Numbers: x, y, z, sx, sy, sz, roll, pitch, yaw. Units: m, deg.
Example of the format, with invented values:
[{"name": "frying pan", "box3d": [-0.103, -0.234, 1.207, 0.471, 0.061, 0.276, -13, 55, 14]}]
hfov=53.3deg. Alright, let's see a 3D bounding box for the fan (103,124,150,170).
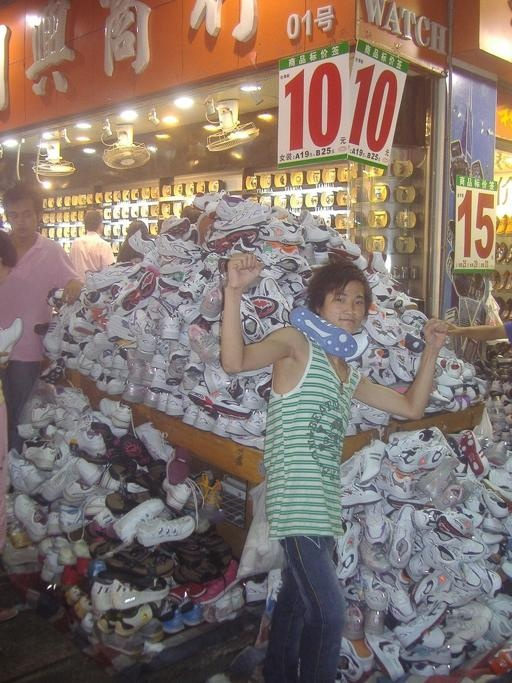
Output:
[{"name": "fan", "box3d": [-1.221, -1.853, 4.750, 0.350, 0.414, 0.637, 1, 10, -19]}]
